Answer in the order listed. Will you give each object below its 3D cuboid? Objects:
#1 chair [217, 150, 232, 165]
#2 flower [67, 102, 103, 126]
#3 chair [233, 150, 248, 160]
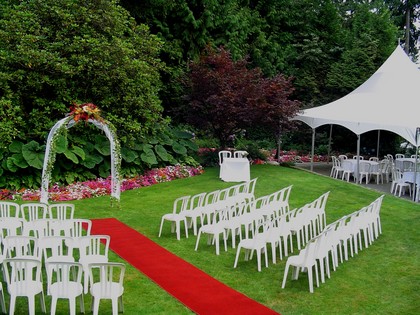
[{"bbox_3d":[0.623,-0.024,17.447,0.579,0.977,0.656,0,-2,0],"label":"chair"},{"bbox_3d":[-3.528,-1.294,11.189,0.883,0.611,0.622,0,0,-6],"label":"flower"},{"bbox_3d":[1.352,-0.148,17.563,0.506,0.627,0.465,0,1,-3],"label":"chair"}]
